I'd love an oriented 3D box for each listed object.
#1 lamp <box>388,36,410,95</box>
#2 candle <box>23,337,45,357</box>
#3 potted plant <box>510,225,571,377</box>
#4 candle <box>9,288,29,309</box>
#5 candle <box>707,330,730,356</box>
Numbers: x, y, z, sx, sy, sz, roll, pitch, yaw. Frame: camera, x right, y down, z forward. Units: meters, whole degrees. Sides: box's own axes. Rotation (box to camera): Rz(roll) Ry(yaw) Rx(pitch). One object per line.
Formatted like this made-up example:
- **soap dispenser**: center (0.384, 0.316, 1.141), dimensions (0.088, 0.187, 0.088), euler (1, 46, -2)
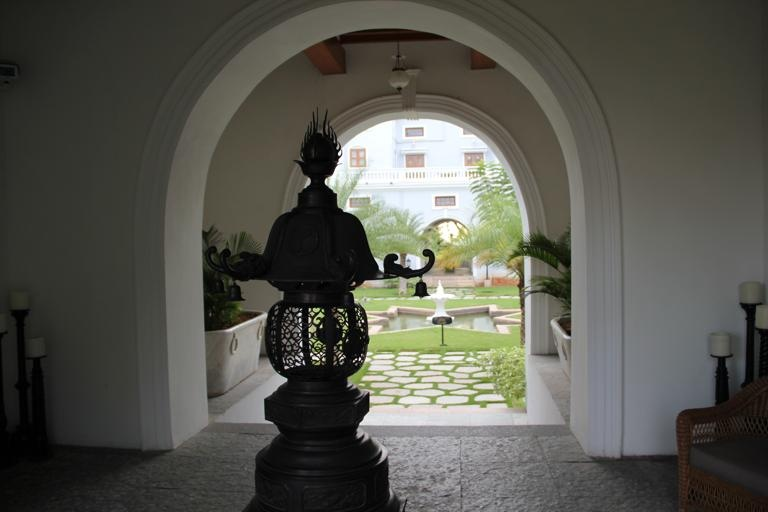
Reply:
- **lamp**: center (0.194, -2.494, 6.710), dimensions (0.267, 0.515, 0.462), euler (-1, 0, 1)
- **candle**: center (-2.671, 0.712, 4.011), dimensions (0.141, 0.157, 0.144), euler (2, 7, 22)
- **potted plant**: center (1.900, 0.499, 6.212), dimensions (0.606, 1.573, 1.779), euler (-1, 0, 19)
- **candle**: center (-2.843, 0.340, 4.073), dimensions (0.145, 0.167, 0.146), euler (-1, -5, -4)
- **candle**: center (2.437, 0.639, 3.856), dimensions (0.169, 0.196, 0.173), euler (-1, 0, 26)
